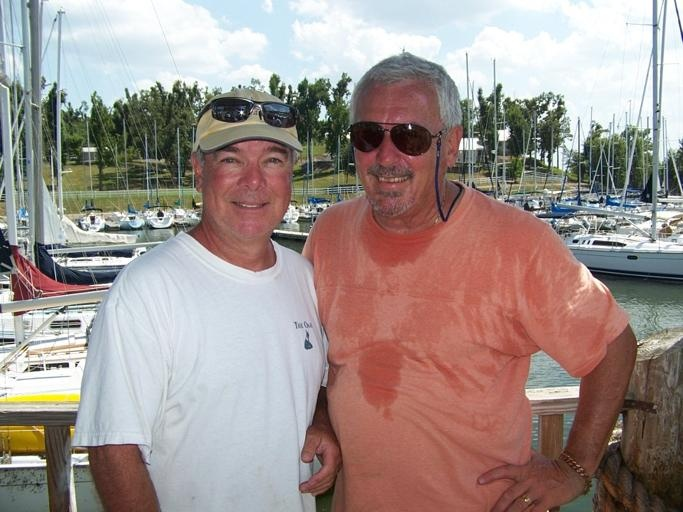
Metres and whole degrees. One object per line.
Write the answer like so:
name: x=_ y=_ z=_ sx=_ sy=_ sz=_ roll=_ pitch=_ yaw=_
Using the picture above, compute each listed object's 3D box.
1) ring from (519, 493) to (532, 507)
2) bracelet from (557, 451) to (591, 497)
ring: x=1.035 y=1.372 z=4.417 sx=0.059 sy=0.060 sz=0.019 roll=5 pitch=1 yaw=-20
bracelet: x=1.332 y=1.219 z=4.539 sx=0.087 sy=0.247 sz=0.184 roll=-28 pitch=-11 yaw=-23
